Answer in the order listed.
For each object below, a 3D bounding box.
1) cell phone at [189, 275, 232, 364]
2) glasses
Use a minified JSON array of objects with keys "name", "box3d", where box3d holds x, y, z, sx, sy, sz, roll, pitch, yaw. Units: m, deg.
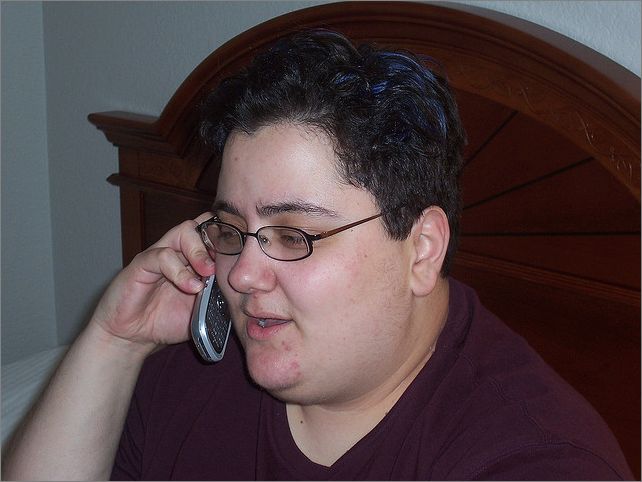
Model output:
[{"name":"cell phone","box3d":[-0.303,0.218,1.552,0.043,0.121,0.272,-11,36,15]},{"name":"glasses","box3d":[-0.115,-0.014,1.332,0.549,0.099,0.148,2,12,25]}]
